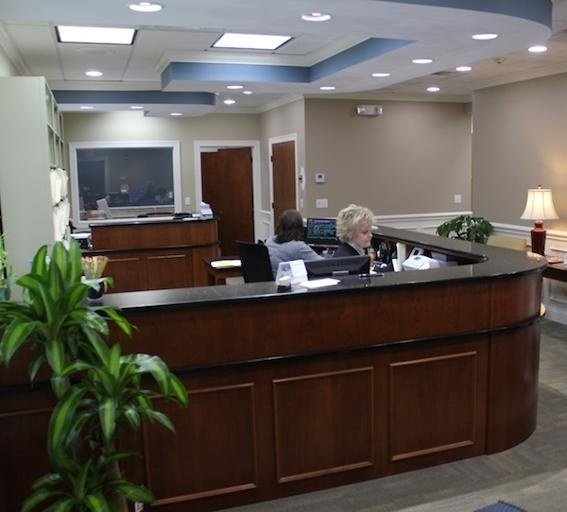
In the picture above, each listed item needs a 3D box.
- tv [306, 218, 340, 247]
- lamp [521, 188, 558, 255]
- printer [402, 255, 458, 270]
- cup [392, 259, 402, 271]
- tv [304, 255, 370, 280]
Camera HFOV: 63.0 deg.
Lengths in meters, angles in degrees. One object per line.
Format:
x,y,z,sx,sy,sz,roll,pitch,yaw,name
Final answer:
0.408,-0.274,4.839,0.409,0.313,0.243,4,16,19,tv
2.971,-0.403,5.359,0.371,0.804,0.757,6,10,30,lamp
1.083,0.049,3.420,0.224,0.078,0.167,0,3,-33,printer
0.966,0.075,3.919,0.047,0.094,0.092,-1,5,-8,cup
0.335,0.065,2.771,0.441,0.118,0.091,-3,10,-23,tv
